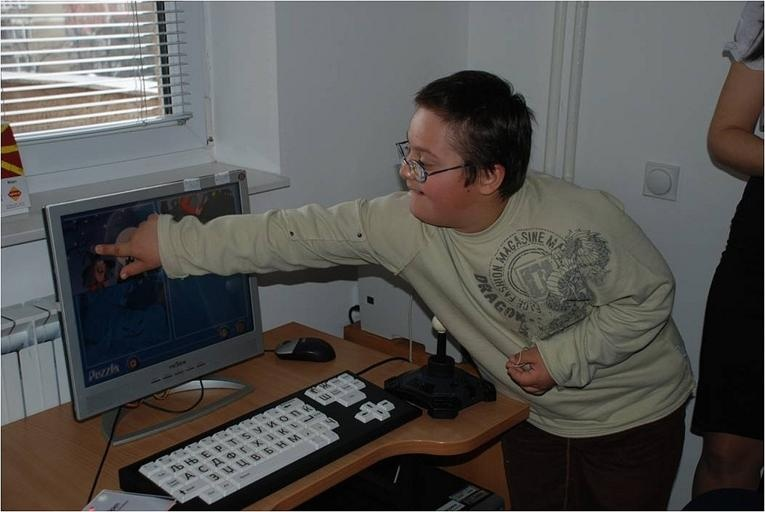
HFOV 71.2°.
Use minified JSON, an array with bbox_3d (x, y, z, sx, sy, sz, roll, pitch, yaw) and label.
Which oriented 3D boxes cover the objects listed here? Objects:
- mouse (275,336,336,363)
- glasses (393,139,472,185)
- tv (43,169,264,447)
[{"bbox_3d":[-0.244,0.274,1.638,0.136,0.043,0.083,5,7,16],"label":"mouse"},{"bbox_3d":[0.132,-0.259,1.328,0.137,0.039,0.135,-15,31,-28],"label":"glasses"},{"bbox_3d":[-0.592,0.162,1.391,0.603,0.663,0.243,-14,18,-37],"label":"tv"}]
